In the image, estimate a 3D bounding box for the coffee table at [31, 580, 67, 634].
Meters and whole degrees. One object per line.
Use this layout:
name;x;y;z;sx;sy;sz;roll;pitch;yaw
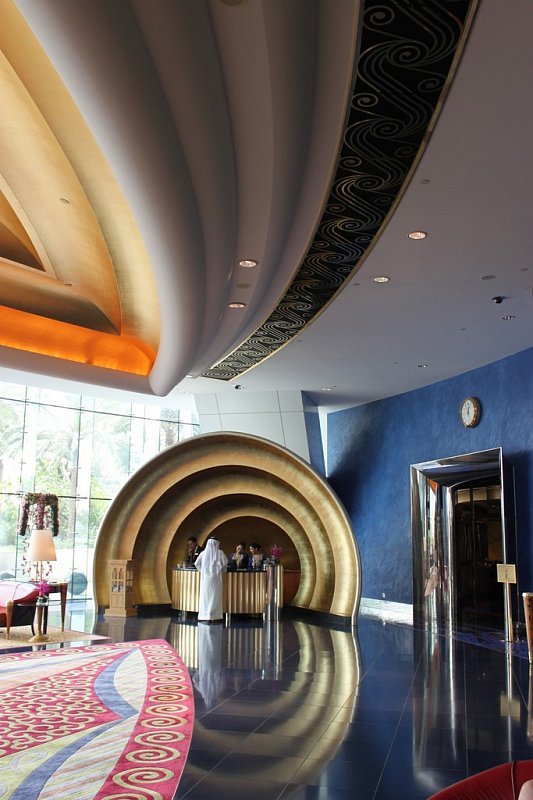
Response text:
coffee table;-4.011;3.837;8.716;0.701;0.798;0.717;3;-25;-21

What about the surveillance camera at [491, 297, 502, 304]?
surveillance camera;3.088;-1.327;6.455;0.077;0.053;0.111;1;0;-2

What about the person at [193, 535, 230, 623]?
person;-1.178;3.855;10.290;0.577;1.705;0.586;11;-16;-39

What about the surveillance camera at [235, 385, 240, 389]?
surveillance camera;-0.704;-0.286;11.356;0.067;0.070;0.124;-8;-2;-2

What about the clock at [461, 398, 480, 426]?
clock;4.120;0.280;9.739;0.151;0.608;0.561;2;-13;-7

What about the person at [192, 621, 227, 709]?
person;-0.770;3.505;6.396;0.383;1.190;0.273;-2;10;-9

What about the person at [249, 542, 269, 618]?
person;-0.240;3.991;10.724;0.385;1.473;0.377;0;-23;-4
